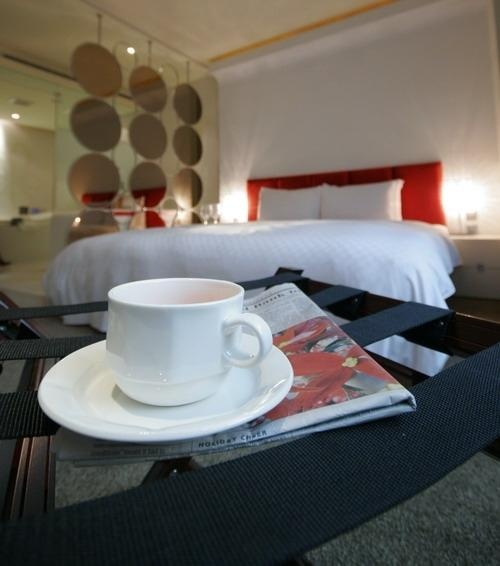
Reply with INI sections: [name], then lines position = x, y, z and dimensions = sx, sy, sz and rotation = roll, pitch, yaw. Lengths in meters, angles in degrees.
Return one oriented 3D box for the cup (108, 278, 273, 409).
[cup]
position = -0.043, 0.043, 0.290
dimensions = 0.117, 0.070, 0.089
rotation = 9, 13, 20
